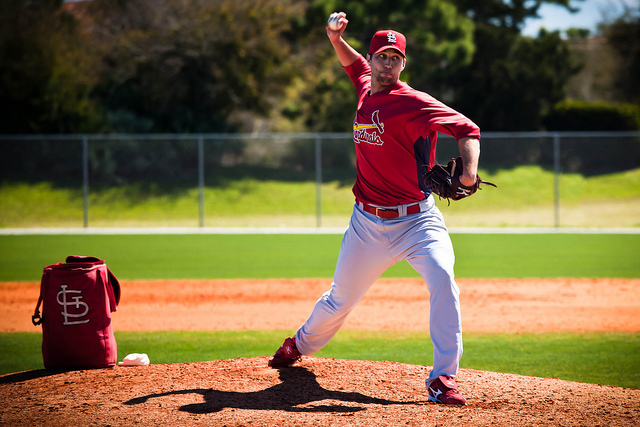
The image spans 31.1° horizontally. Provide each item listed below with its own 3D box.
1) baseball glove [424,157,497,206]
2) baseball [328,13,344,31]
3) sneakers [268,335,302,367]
[{"bbox_3d":[1.665,-0.382,14.543,0.643,0.603,0.312,-5,-33,16],"label":"baseball glove"},{"bbox_3d":[0.198,-2.571,15.408,0.164,0.254,0.073,-1,2,-5],"label":"baseball"},{"bbox_3d":[-0.470,1.863,15.280,0.220,0.289,0.594,-1,-27,-47],"label":"sneakers"}]
